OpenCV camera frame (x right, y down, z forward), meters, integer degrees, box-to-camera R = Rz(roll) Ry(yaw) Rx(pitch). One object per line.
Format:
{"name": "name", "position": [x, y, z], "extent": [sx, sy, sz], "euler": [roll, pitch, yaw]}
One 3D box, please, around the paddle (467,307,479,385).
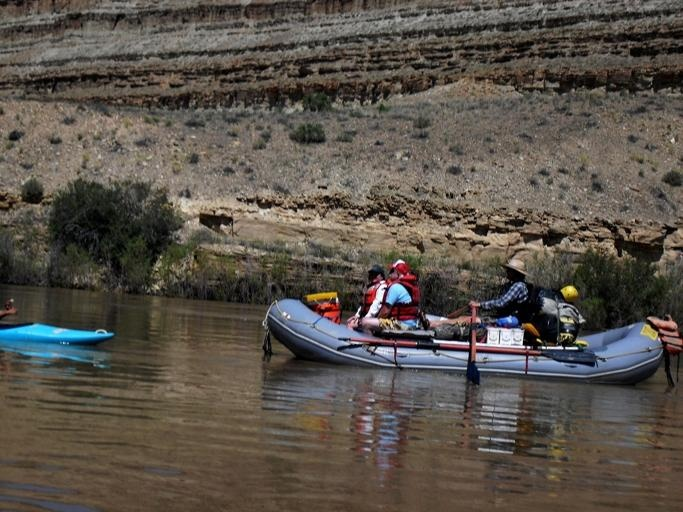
{"name": "paddle", "position": [5.430, 3.643, 55.251], "extent": [0.550, 3.286, 0.924], "euler": [1, -3, 5]}
